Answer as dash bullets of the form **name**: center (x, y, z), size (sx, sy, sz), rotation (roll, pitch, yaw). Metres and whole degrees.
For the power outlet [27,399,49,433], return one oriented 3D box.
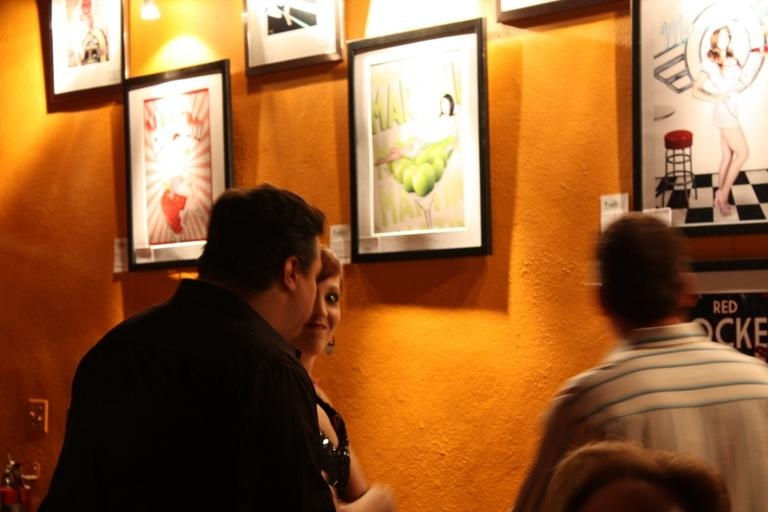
- **power outlet**: center (-1.676, 0.788, 3.183), size (0.164, 0.219, 0.025), rotation (-2, -5, 19)
